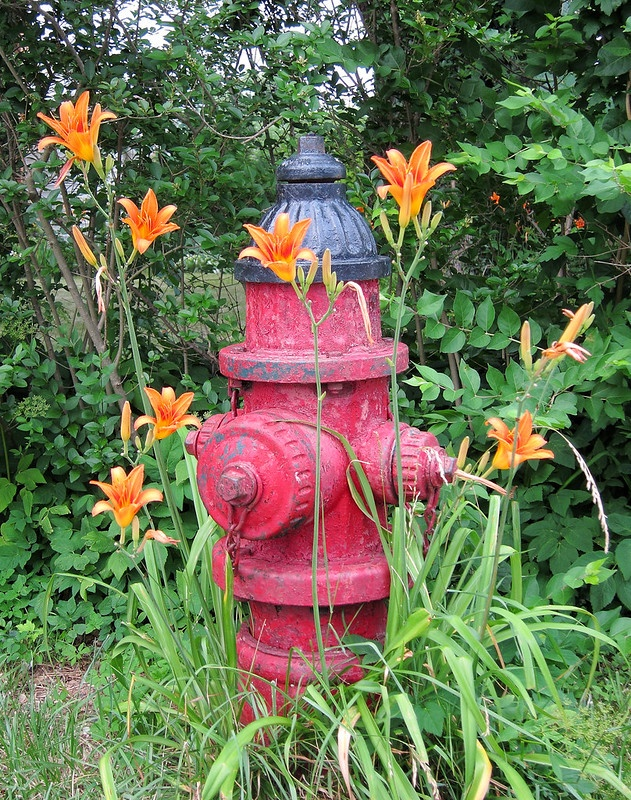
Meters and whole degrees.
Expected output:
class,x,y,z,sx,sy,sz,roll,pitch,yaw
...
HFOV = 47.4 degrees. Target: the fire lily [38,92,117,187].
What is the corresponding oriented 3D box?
class,x,y,z,sx,sy,sz,roll,pitch,yaw
fire lily,-0.400,-0.454,1.253,0.121,0.124,0.140,-10,13,32
